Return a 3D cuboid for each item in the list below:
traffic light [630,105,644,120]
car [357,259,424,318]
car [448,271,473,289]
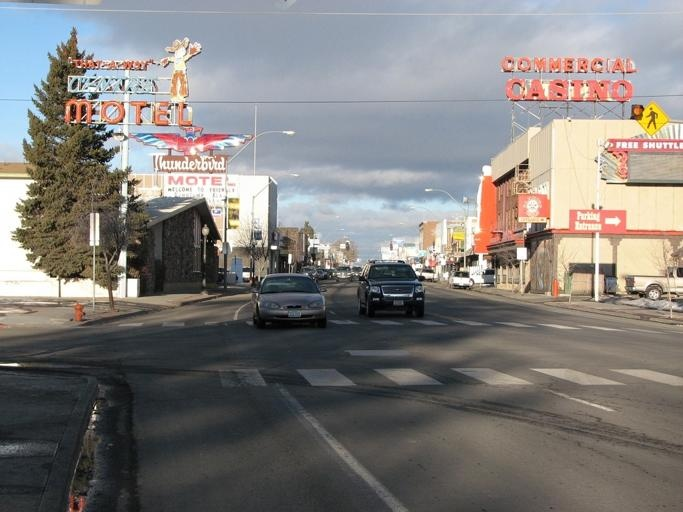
[{"bbox_3d":[22.273,-10.902,54.799,0.865,0.934,1.270,1,1,36],"label":"traffic light"},{"bbox_3d":[1.904,1.227,27.690,2.096,2.148,2.983,1,1,-8],"label":"car"},{"bbox_3d":[11.299,2.220,69.408,2.055,1.603,1.678,1,1,20],"label":"car"}]
